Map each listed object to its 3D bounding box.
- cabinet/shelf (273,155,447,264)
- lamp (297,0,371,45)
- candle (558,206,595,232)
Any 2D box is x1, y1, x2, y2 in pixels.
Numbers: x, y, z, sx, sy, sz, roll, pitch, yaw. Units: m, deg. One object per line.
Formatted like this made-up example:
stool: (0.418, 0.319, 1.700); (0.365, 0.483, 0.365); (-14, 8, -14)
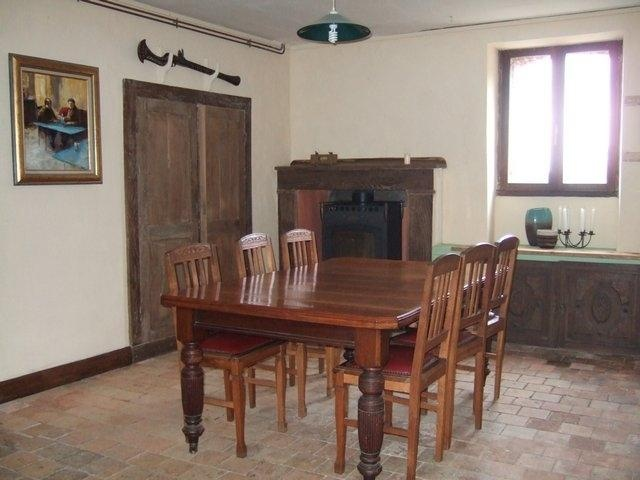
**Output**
cabinet/shelf: (0.499, -0.340, 5.574); (1.183, 1.069, 0.385); (5, 16, 26)
lamp: (0.094, -1.321, 3.224); (0.280, 0.300, 0.300); (-13, 25, -33)
candle: (2.679, -0.244, 5.408); (0.287, 0.278, 0.282); (2, 9, 13)
